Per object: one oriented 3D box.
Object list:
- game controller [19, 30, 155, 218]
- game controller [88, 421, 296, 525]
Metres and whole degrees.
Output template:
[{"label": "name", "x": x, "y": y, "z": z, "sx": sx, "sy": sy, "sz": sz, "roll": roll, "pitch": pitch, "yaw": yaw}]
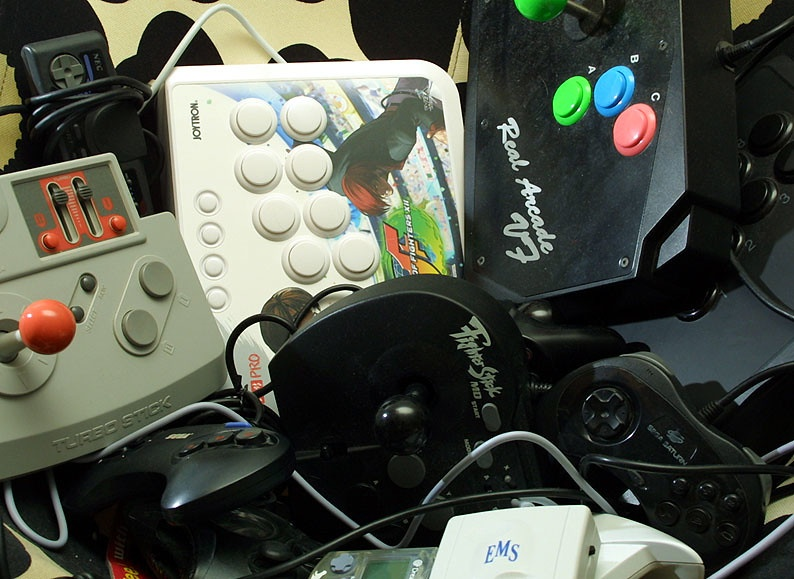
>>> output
[{"label": "game controller", "x": -0.408, "y": -0.230, "z": 0.923, "sx": 0.136, "sy": 0.264, "sz": 0.078, "roll": -13, "pitch": 9, "yaw": -25}, {"label": "game controller", "x": -0.241, "y": 0.197, "z": 0.788, "sx": 0.257, "sy": 0.067, "sz": 0.117, "roll": -8, "pitch": -3, "yaw": 36}]
